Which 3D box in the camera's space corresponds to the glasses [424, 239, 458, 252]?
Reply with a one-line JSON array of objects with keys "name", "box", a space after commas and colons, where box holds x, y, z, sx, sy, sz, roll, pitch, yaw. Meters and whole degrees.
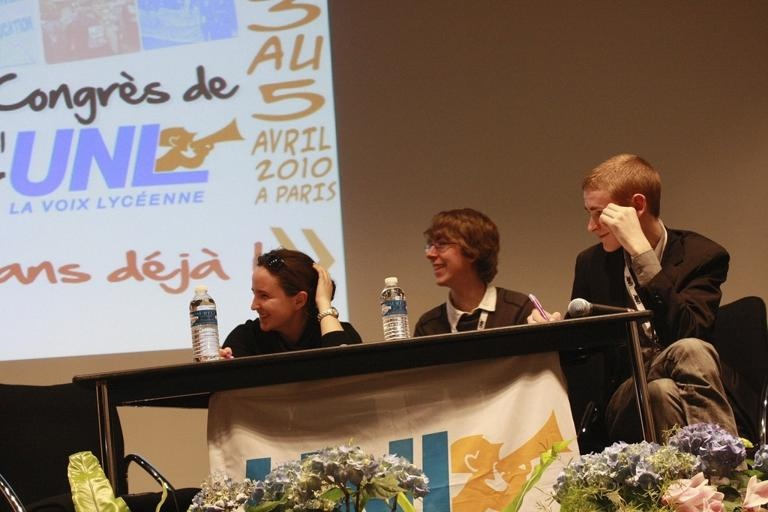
[{"name": "glasses", "box": [0.258, -0.043, 3.841, 0.086, 0.026, 0.083, 17, -21, -40]}]

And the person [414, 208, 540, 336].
[{"name": "person", "box": [0.433, 0.142, 3.964, 0.512, 0.738, 0.722, 7, -11, -39]}]

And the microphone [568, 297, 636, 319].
[{"name": "microphone", "box": [0.807, 0.197, 3.015, 0.356, 0.087, 0.090, 4, 0, -31]}]

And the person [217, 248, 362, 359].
[{"name": "person", "box": [-0.396, 0.261, 3.899, 0.486, 0.553, 0.943, -3, -1, -41]}]

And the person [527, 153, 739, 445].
[{"name": "person", "box": [1.043, 0.190, 3.501, 0.789, 1.327, 0.782, 21, -30, -31]}]

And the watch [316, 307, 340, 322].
[{"name": "watch", "box": [-0.256, 0.266, 3.781, 0.080, 0.052, 0.082, -5, 0, 17]}]
